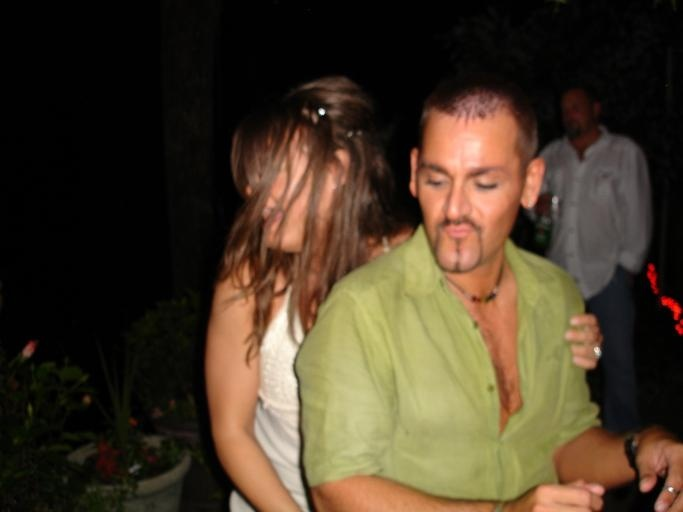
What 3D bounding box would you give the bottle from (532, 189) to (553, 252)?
[{"bbox_3d":[1.723,-0.276,5.425,0.235,0.452,0.170,-2,4,-27],"label":"bottle"}]
